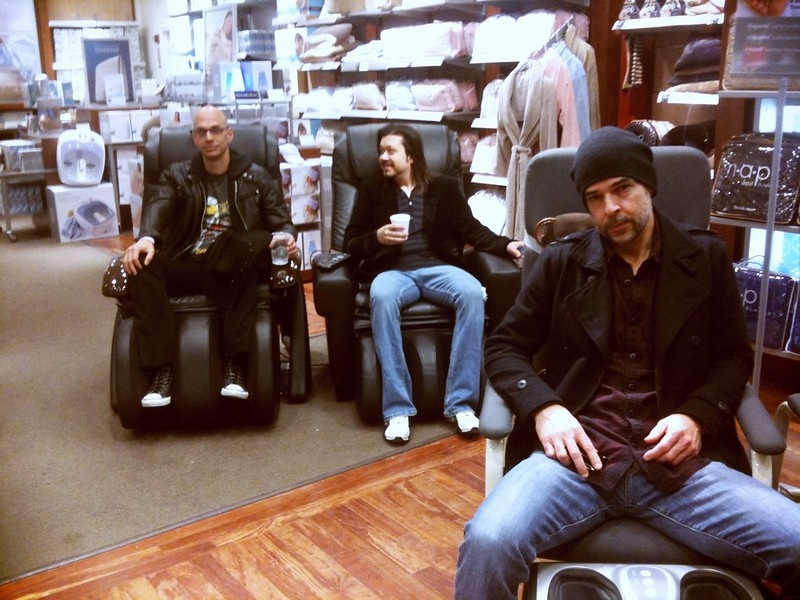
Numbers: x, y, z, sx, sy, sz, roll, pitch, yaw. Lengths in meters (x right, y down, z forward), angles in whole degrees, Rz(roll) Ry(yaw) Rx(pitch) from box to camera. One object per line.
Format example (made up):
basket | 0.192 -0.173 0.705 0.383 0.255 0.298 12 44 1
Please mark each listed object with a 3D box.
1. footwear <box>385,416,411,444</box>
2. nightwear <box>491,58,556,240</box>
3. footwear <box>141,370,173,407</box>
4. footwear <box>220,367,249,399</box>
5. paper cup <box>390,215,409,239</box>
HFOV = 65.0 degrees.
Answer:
footwear | -0.016 0.603 2.958 0.126 0.111 0.159 -2 15 0
nightwear | 0.833 -0.978 4.231 0.435 1.043 0.189 23 38 32
footwear | -1.134 0.421 2.929 0.077 0.088 0.214 -1 11 -3
footwear | -0.800 0.402 3.012 0.127 0.123 0.162 -7 15 -17
paper cup | 0.004 -0.362 2.999 0.098 0.090 0.095 -2 27 1
